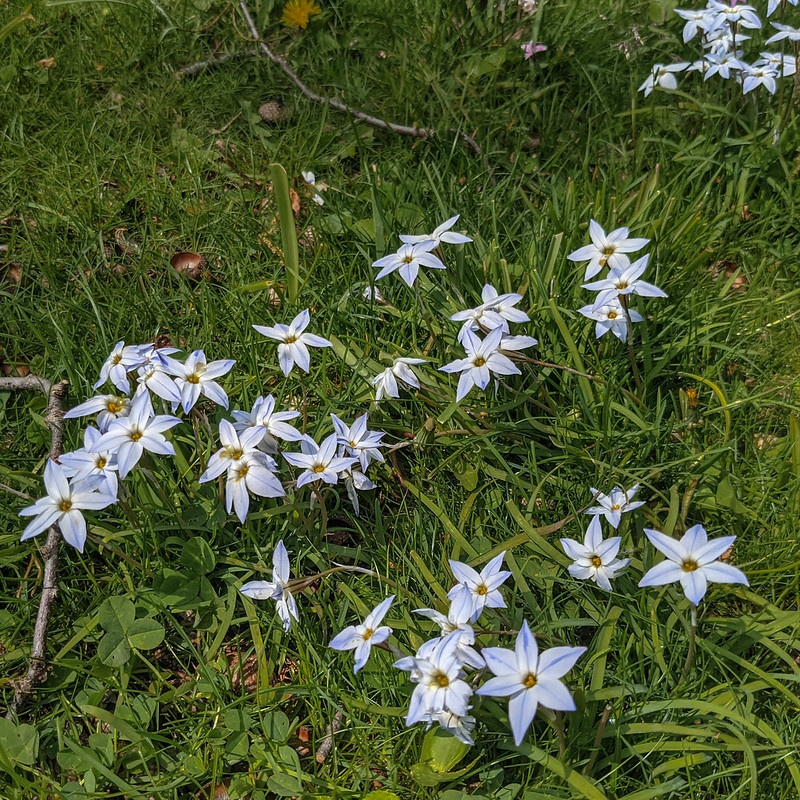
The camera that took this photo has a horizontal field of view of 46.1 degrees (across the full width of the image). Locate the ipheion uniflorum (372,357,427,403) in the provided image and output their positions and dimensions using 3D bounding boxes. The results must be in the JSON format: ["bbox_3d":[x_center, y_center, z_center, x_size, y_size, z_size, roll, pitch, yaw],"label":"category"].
[{"bbox_3d":[-0.014,-0.079,3.016,0.137,0.073,0.149,-38,24,13],"label":"ipheion uniflorum"}]

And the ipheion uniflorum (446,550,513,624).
[{"bbox_3d":[0.233,0.514,2.510,0.169,0.156,0.101,45,116,18],"label":"ipheion uniflorum"}]

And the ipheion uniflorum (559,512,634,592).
[{"bbox_3d":[0.534,0.424,2.606,0.178,0.131,0.153,35,71,28],"label":"ipheion uniflorum"}]

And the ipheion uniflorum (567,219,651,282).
[{"bbox_3d":[0.683,-0.486,3.057,0.149,0.181,0.065,-5,78,-31],"label":"ipheion uniflorum"}]

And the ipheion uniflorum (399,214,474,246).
[{"bbox_3d":[0.144,-0.627,3.473,0.171,0.062,0.186,16,50,44],"label":"ipheion uniflorum"}]

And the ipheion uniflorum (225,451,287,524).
[{"bbox_3d":[-0.417,0.239,2.631,0.156,0.050,0.196,-29,62,18],"label":"ipheion uniflorum"}]

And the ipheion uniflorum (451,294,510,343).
[{"bbox_3d":[0.250,-0.250,2.968,0.140,0.047,0.149,1,48,29],"label":"ipheion uniflorum"}]

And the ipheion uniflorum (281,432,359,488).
[{"bbox_3d":[-0.227,0.190,2.712,0.198,0.106,0.139,-14,57,4],"label":"ipheion uniflorum"}]

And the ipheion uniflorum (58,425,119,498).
[{"bbox_3d":[-0.847,0.183,2.656,0.157,0.081,0.203,10,22,38],"label":"ipheion uniflorum"}]

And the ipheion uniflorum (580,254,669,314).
[{"bbox_3d":[0.693,-0.355,2.926,0.179,0.070,0.197,-29,52,22],"label":"ipheion uniflorum"}]

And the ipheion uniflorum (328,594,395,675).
[{"bbox_3d":[-0.078,0.608,2.456,0.179,0.195,0.106,-14,94,18],"label":"ipheion uniflorum"}]

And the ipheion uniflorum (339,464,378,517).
[{"bbox_3d":[-0.132,0.251,2.819,0.108,0.152,0.060,-10,12,2],"label":"ipheion uniflorum"}]

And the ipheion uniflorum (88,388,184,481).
[{"bbox_3d":[-0.732,0.094,2.626,0.183,0.065,0.250,-17,55,14],"label":"ipheion uniflorum"}]

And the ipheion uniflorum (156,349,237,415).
[{"bbox_3d":[-0.618,-0.068,2.789,0.141,0.181,0.062,-22,67,10],"label":"ipheion uniflorum"}]

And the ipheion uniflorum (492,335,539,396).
[{"bbox_3d":[0.359,-0.123,2.922,0.128,0.060,0.137,-12,57,17],"label":"ipheion uniflorum"}]

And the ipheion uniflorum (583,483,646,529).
[{"bbox_3d":[0.634,0.293,2.757,0.124,0.052,0.141,6,43,40],"label":"ipheion uniflorum"}]

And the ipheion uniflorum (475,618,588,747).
[{"bbox_3d":[0.307,0.664,2.182,0.266,0.138,0.292,11,19,34],"label":"ipheion uniflorum"}]

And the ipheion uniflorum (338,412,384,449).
[{"bbox_3d":[-0.128,0.106,2.844,0.104,0.059,0.116,38,77,3],"label":"ipheion uniflorum"}]

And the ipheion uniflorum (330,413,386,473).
[{"bbox_3d":[-0.142,0.101,2.775,0.189,0.110,0.197,11,22,-11],"label":"ipheion uniflorum"}]

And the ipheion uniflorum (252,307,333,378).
[{"bbox_3d":[-0.344,-0.185,2.924,0.211,0.218,0.110,-11,67,37],"label":"ipheion uniflorum"}]

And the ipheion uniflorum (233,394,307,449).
[{"bbox_3d":[-0.406,0.087,2.748,0.228,0.221,0.110,14,96,35],"label":"ipheion uniflorum"}]

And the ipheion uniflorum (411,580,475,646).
[{"bbox_3d":[0.139,0.547,2.403,0.130,0.067,0.147,-37,62,8],"label":"ipheion uniflorum"}]

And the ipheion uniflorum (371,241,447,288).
[{"bbox_3d":[0.028,-0.459,3.071,0.154,0.050,0.186,8,50,31],"label":"ipheion uniflorum"}]
